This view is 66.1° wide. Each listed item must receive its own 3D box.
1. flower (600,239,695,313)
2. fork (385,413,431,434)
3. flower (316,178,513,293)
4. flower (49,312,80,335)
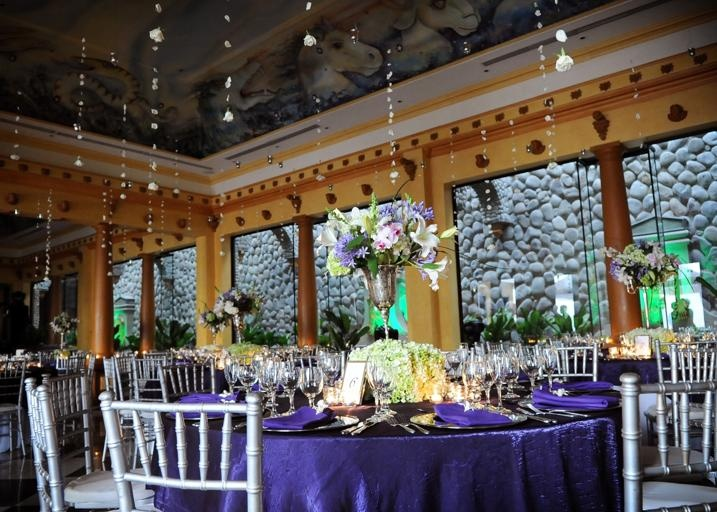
[{"bbox_3d":[3.068,0.190,5.954,0.594,0.546,0.739,-7,-54,15],"label":"flower"},{"bbox_3d":[0.217,0.787,2.618,0.060,0.031,0.209,-2,-2,-29],"label":"fork"},{"bbox_3d":[0.235,-0.082,3.406,0.669,0.447,0.685,-8,-8,42],"label":"flower"},{"bbox_3d":[-8.281,1.924,15.474,0.685,0.649,0.730,-4,-20,0],"label":"flower"}]
